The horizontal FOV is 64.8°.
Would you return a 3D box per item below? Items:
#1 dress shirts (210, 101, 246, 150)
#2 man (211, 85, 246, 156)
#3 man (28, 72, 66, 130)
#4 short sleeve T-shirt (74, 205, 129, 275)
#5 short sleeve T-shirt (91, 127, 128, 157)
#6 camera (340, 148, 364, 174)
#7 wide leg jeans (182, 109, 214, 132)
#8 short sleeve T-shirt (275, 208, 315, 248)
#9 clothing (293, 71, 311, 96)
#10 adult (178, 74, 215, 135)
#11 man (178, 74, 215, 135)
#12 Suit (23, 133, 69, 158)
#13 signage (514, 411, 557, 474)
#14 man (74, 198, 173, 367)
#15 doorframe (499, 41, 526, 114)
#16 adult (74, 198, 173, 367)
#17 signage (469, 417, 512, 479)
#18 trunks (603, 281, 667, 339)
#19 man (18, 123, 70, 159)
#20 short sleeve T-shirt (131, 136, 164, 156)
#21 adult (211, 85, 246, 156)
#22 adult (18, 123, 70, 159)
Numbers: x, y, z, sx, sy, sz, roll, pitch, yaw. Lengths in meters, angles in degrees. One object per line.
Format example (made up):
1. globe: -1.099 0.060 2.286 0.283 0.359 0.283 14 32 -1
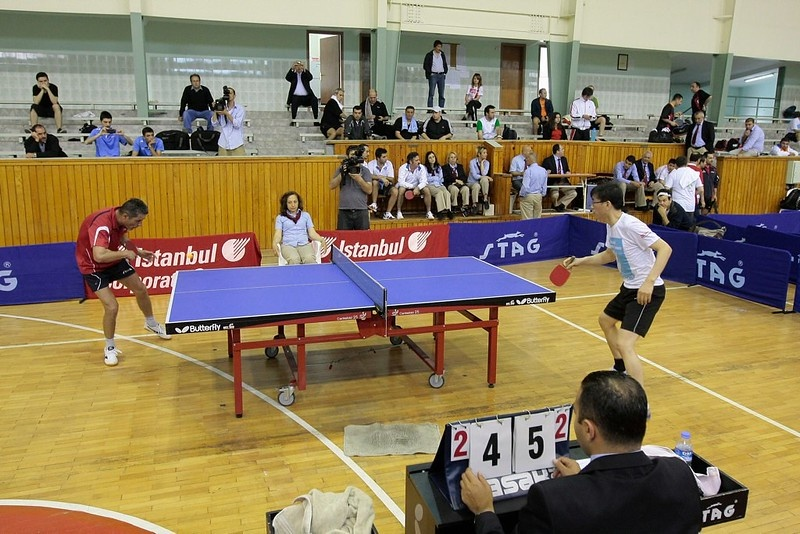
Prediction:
1. dress shirts: -4.117 -3.373 15.142 0.697 1.134 0.775 11 19 18
2. man: -4.108 -3.242 15.272 0.722 2.204 0.700 2 26 -11
3. man: -9.230 -4.432 16.502 0.950 1.711 1.563 -5 31 -27
4. short sleeve T-shirt: -4.703 -0.453 9.945 0.618 1.031 1.131 16 19 -5
5. short sleeve T-shirt: -6.860 -2.921 14.761 0.586 0.605 0.924 -7 16 -25
6. camera: -1.036 -2.274 13.554 0.387 0.325 0.672 -8 13 -19
7. wide leg jeans: -5.434 -4.038 16.919 0.755 0.439 0.892 -4 43 -10
8. short sleeve T-shirt: -1.921 -0.680 12.076 0.977 0.979 0.570 -2 5 -20
9. clothing: -2.807 -5.253 18.069 0.133 0.619 0.440 -5 3 16
10. adult: -5.401 -4.381 16.883 0.971 1.497 0.851 -6 25 -19
11. man: -5.419 -4.368 16.870 0.980 1.505 0.865 -6 24 -20
12. Suit: -8.131 -2.715 14.360 0.610 0.672 0.939 -9 20 -28
13. signage: 1.272 1.655 6.036 0.547 0.639 0.110 -4 8 -20
14. man: -4.421 0.127 10.001 1.328 2.622 1.293 11 24 2
15. doorframe: 4.077 -6.827 23.098 0.955 2.772 0.125 2 -4 5
16. adult: -4.768 0.375 10.807 1.432 2.702 1.397 14 36 -7
17. signage: 0.836 1.680 5.938 0.513 0.647 0.105 -5 8 -23
18. trunks: 3.411 0.645 9.092 0.418 0.666 0.725 13 14 -23
19. man: -8.117 -2.857 14.254 0.850 0.692 0.699 -3 15 -9
20. short sleeve T-shirt: -5.993 -2.886 15.020 0.359 0.647 0.522 25 29 37
21. adult: -4.119 -3.260 15.263 0.749 2.233 0.706 0 26 -16
22. adult: -8.140 -2.867 14.291 0.930 0.692 0.623 3 15 13
